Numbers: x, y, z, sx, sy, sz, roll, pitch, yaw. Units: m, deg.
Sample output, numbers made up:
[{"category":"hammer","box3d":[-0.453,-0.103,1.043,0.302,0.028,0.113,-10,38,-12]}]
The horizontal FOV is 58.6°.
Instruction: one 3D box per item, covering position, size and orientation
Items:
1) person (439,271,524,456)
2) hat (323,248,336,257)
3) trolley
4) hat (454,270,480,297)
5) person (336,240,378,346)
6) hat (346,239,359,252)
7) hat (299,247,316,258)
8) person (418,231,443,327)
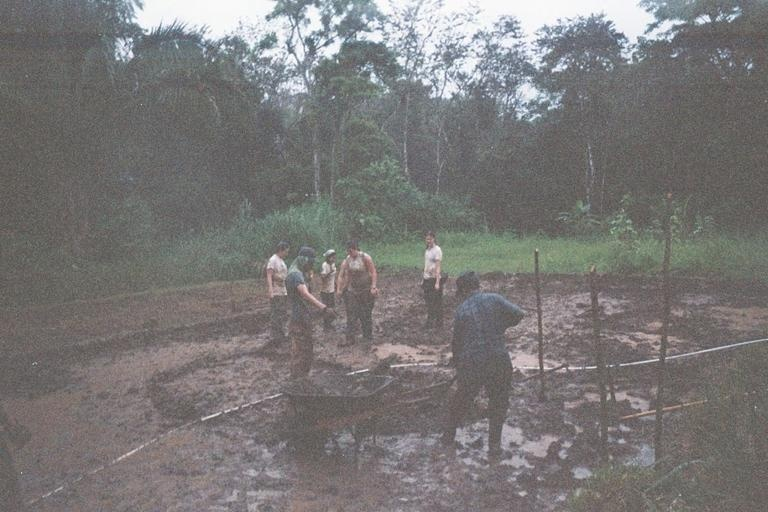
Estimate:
[{"category":"person","box3d":[1.973,2.171,13.716,1.391,3.584,0.601,-1,7,11]},{"category":"hat","box3d":[-1.430,-0.082,17.489,0.289,0.218,0.409,-4,2,-34]},{"category":"trolley","box3d":[-0.230,3.303,14.724,3.727,1.516,2.020,-4,7,-10]},{"category":"hat","box3d":[1.711,0.559,14.034,0.472,0.516,0.490,-2,-7,1]},{"category":"person","box3d":[-0.674,0.905,17.211,0.950,2.632,0.652,-3,7,-1]},{"category":"hat","box3d":[-0.781,-0.261,17.157,0.260,0.306,0.585,-3,6,-6]},{"category":"hat","box3d":[-1.674,-0.073,15.475,0.314,0.279,0.474,4,-4,36]},{"category":"person","box3d":[1.287,0.651,18.014,0.536,2.583,0.918,-2,7,2]}]
